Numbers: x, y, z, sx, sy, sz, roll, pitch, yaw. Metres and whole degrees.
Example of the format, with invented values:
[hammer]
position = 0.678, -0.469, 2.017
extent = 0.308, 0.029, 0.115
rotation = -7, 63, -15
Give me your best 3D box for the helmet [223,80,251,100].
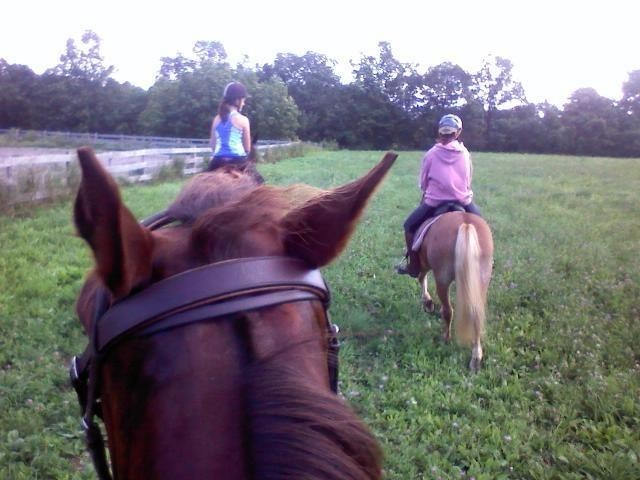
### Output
[helmet]
position = -1.047, -1.860, 6.319
extent = 0.190, 0.296, 0.282
rotation = 0, 17, 1
